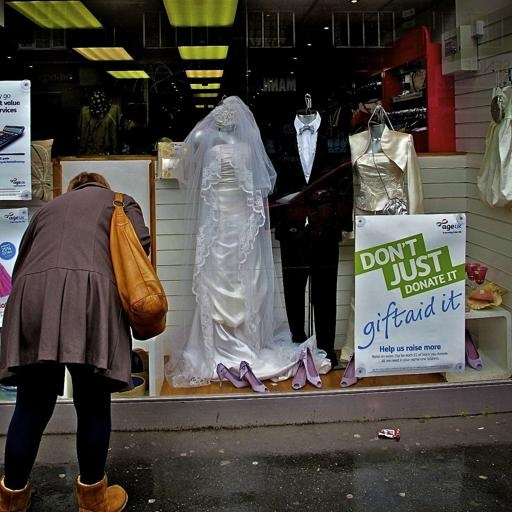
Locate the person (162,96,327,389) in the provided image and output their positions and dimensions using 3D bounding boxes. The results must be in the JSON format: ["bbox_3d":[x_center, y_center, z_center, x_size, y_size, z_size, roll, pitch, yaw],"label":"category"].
[{"bbox_3d":[-0.140,-0.088,2.979,0.768,1.600,0.232,-1,6,-5],"label":"person"}]

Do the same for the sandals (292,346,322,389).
[{"bbox_3d":[0.285,0.636,2.970,0.110,0.083,0.213,0,47,-2],"label":"sandals"}]

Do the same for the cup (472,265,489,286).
[{"bbox_3d":[1.284,0.111,3.013,0.098,0.132,0.099,0,3,0],"label":"cup"}]

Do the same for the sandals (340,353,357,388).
[{"bbox_3d":[0.530,0.646,3.020,0.064,0.092,0.224,5,29,24],"label":"sandals"}]

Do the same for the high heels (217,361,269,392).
[{"bbox_3d":[-0.081,0.667,2.983,0.309,0.153,0.123,3,-2,20],"label":"high heels"}]
